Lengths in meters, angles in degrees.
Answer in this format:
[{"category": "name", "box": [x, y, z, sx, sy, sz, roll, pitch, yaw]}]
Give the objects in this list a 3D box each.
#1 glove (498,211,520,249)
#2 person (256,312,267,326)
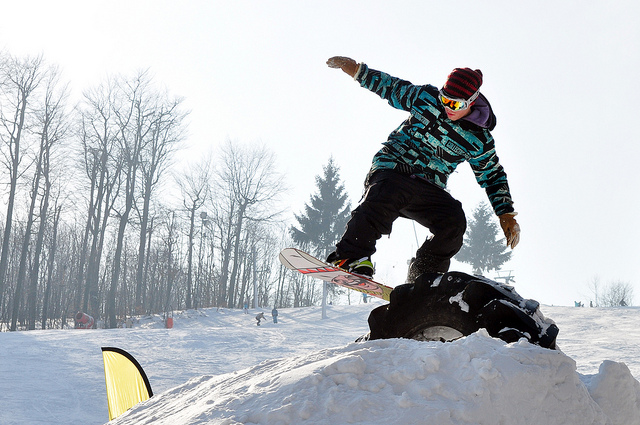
[{"category": "glove", "box": [2.787, 0.247, 7.994, 0.260, 0.550, 0.170, -5, -11, 29]}, {"category": "person", "box": [-2.968, 5.203, 27.273, 0.498, 0.726, 0.384, 0, 21, -16]}]
